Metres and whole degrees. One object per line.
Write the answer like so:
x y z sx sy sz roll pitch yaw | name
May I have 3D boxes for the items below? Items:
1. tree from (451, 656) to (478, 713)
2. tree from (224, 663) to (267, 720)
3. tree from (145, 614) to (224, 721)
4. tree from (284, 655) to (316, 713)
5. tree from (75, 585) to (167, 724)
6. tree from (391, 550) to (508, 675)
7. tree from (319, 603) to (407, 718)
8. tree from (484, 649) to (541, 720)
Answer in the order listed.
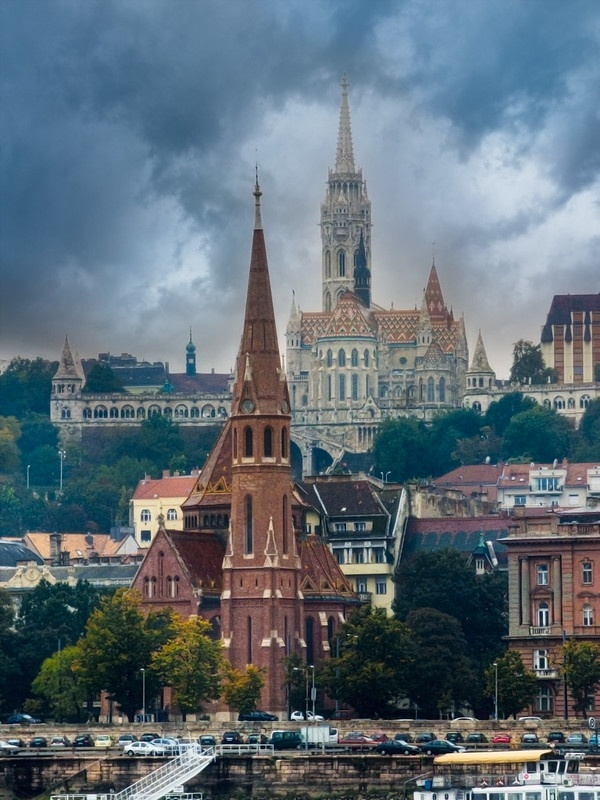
7.436 12.562 112.766 1.198 2.459 2.418 -1 -9 4 | tree
-2.667 12.961 113.473 1.674 2.528 2.139 -5 -8 0 | tree
-5.432 11.740 112.247 3.265 5.446 3.999 -10 -16 15 | tree
-0.369 12.889 114.275 1.684 3.071 1.864 -1 0 8 | tree
-7.552 11.066 113.428 4.528 6.889 4.455 5 -17 -35 | tree
7.589 9.814 124.140 4.611 6.091 4.509 -4 -5 11 | tree
3.161 11.392 111.076 3.716 6.003 4.165 5 -13 2 | tree
8.906 11.814 106.074 2.325 2.981 1.969 4 -10 -23 | tree
